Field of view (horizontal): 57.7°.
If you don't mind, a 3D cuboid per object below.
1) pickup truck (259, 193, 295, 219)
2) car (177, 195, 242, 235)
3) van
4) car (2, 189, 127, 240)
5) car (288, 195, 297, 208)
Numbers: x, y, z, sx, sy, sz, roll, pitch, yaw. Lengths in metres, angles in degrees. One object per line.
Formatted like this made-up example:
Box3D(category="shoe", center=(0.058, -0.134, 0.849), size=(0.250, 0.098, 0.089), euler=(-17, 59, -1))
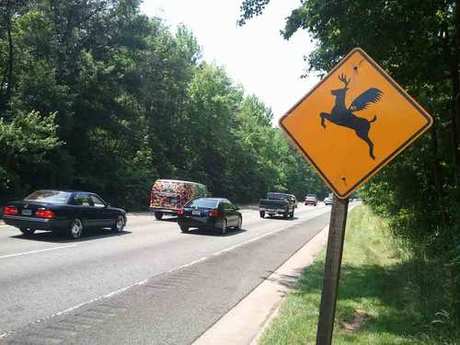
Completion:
Box3D(category="pickup truck", center=(3.498, 2.548, 31.282), size=(1.922, 1.904, 3.539), euler=(2, 2, 25))
Box3D(category="car", center=(-0.658, 1.922, 19.436), size=(1.305, 1.227, 3.149), euler=(-1, -2, 21))
Box3D(category="van", center=(-2.681, 1.492, 24.534), size=(1.758, 1.935, 3.599), euler=(-1, -1, 23))
Box3D(category="car", center=(-5.910, 1.485, 15.416), size=(1.669, 1.672, 3.790), euler=(2, 2, 31))
Box3D(category="car", center=(6.601, 3.035, 43.919), size=(1.325, 1.393, 2.712), euler=(-1, -12, 5))
